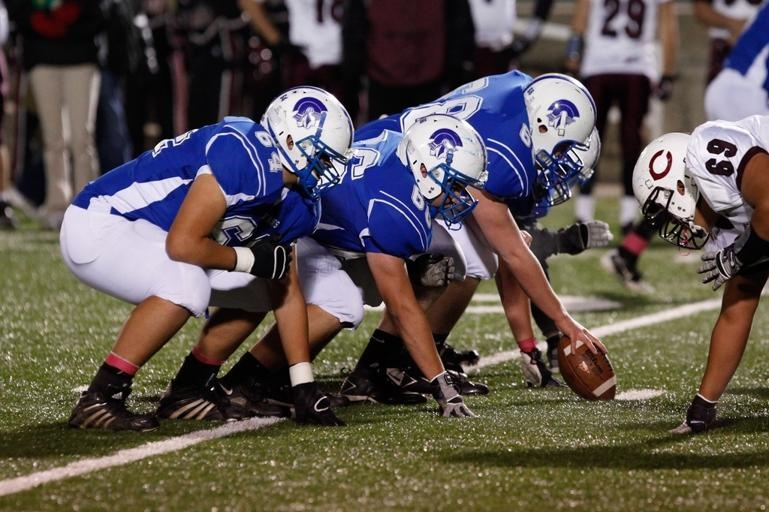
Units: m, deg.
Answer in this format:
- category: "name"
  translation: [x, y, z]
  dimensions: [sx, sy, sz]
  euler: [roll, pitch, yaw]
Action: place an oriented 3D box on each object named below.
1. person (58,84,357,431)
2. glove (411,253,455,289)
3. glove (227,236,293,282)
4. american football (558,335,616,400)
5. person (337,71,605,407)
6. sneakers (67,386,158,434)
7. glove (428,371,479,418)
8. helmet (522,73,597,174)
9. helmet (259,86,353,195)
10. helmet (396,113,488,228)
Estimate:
- category: "person"
  translation: [-0.515, -0.034, 4.122]
  dimensions: [1.194, 1.402, 1.024]
  euler: [9, 1, -4]
- category: "glove"
  translation: [0.199, 0.061, 3.994]
  dimensions: [0.152, 0.063, 0.115]
  euler: [5, 7, 38]
- category: "glove"
  translation: [-0.434, 0.006, 3.557]
  dimensions: [0.181, 0.086, 0.121]
  euler: [-1, 51, -16]
- category: "american football"
  translation: [0.813, 0.453, 4.042]
  dimensions: [0.262, 0.161, 0.191]
  euler: [46, 19, 23]
- category: "person"
  translation: [0.041, -0.015, 3.834]
  dimensions: [0.771, 0.929, 1.289]
  euler: [-6, 24, -8]
- category: "sneakers"
  translation: [-0.973, 0.552, 3.599]
  dimensions: [0.368, 0.200, 0.133]
  euler: [3, 2, 1]
- category: "glove"
  translation: [0.255, 0.542, 3.786]
  dimensions: [0.188, 0.128, 0.069]
  euler: [53, 0, 18]
- category: "helmet"
  translation: [0.679, -0.539, 3.925]
  dimensions: [0.345, 0.368, 0.265]
  euler: [0, 12, 1]
- category: "helmet"
  translation: [-0.255, -0.428, 3.682]
  dimensions: [0.355, 0.357, 0.276]
  euler: [14, 9, -4]
- category: "helmet"
  translation: [0.231, -0.366, 3.820]
  dimensions: [0.362, 0.366, 0.296]
  euler: [24, 18, -1]
